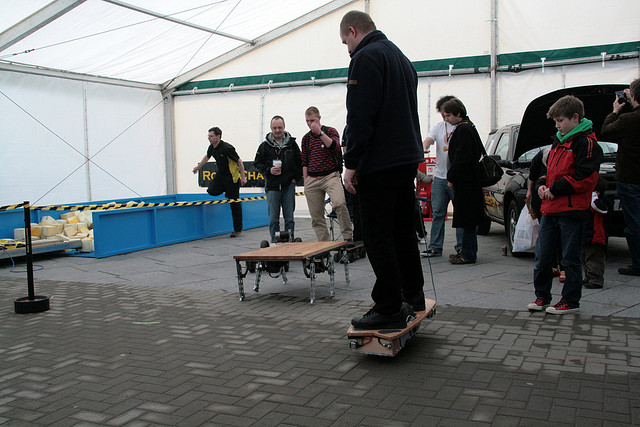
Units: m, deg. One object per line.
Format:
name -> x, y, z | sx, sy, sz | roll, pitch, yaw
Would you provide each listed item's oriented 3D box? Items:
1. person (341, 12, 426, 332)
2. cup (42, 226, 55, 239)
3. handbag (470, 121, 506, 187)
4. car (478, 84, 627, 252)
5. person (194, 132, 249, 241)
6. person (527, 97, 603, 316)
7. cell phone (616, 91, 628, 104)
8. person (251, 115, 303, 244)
person -> 0.545, -0.403, 3.918 | 0.627, 2.727, 0.738 | 2, 8, 33
cup -> -5.510, 0.354, 9.070 | 0.255, 0.206, 0.152 | -8, 9, -39
handbag -> 2.634, -0.929, 6.852 | 0.332, 0.845, 0.514 | -30, -9, 37
car -> 3.983, -0.836, 7.625 | 2.175, 1.986, 3.434 | -1, 0, 3
person -> -2.225, -0.705, 10.822 | 0.704, 2.496, 1.266 | -8, 9, -37
person -> 2.552, -0.075, 4.636 | 0.632, 2.228, 0.420 | 1, 8, 31
cell phone -> 4.033, -1.536, 5.927 | 0.169, 0.152, 0.038 | 1, 9, -27
person -> -0.759, -0.595, 8.510 | 0.858, 2.450, 0.740 | -4, 7, -6
